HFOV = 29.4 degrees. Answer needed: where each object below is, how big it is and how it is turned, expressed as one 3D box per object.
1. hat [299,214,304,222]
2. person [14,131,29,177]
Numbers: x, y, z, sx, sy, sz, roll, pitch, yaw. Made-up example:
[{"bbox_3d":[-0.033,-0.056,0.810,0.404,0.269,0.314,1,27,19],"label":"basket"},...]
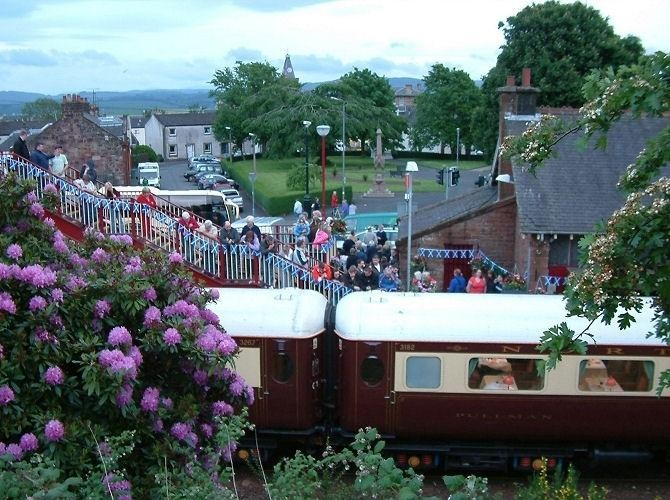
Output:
[{"bbox_3d":[-0.954,-0.945,36.714,0.152,0.216,0.206,15,17,36],"label":"hat"},{"bbox_3d":[-7.820,-2.466,31.926,0.434,1.141,1.606,0,7,-14],"label":"person"}]
